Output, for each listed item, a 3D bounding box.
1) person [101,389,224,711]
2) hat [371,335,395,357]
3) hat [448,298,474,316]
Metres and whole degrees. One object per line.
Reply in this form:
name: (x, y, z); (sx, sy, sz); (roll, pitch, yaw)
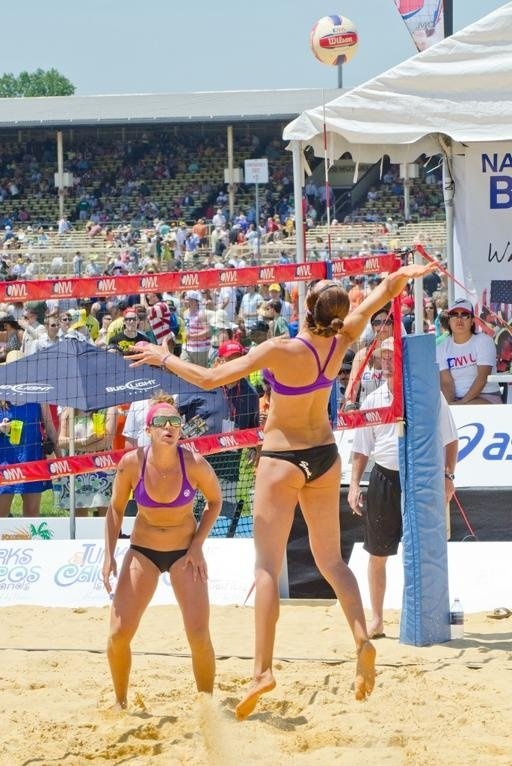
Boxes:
person: (-0.444, 0.846, 5.880); (0.574, 1.534, 0.465); (0, -1, 1)
hat: (0.808, -0.230, 7.651); (0.116, 0.073, 0.169); (3, -21, -16)
hat: (1.661, -0.618, 9.805); (0.149, 0.112, 0.247); (3, -7, 13)
